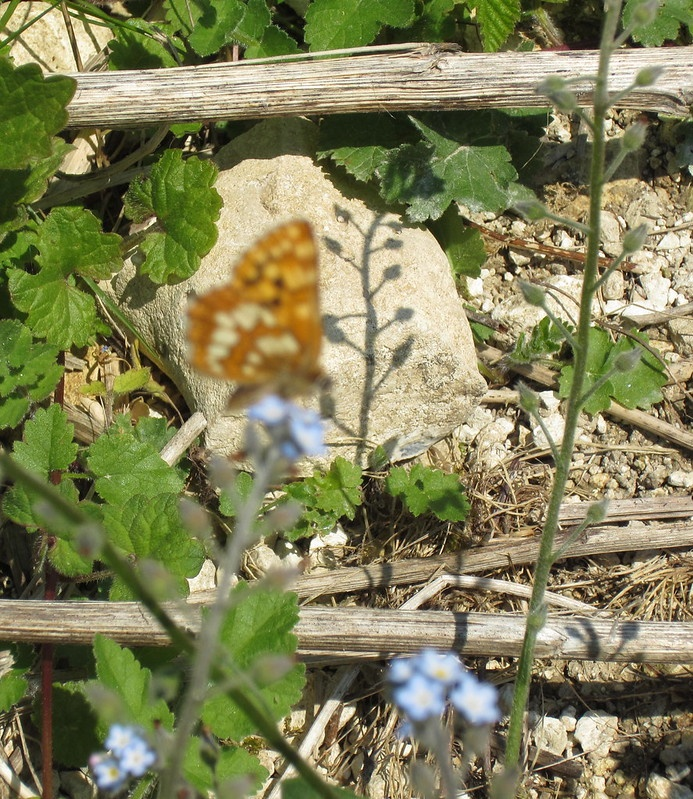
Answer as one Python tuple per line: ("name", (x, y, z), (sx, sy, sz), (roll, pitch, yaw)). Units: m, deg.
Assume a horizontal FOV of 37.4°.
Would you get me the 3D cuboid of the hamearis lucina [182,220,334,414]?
("hamearis lucina", (-0.162, -0.167, 2.174), (0.365, 0.310, 0.268), (-28, 40, -19))
